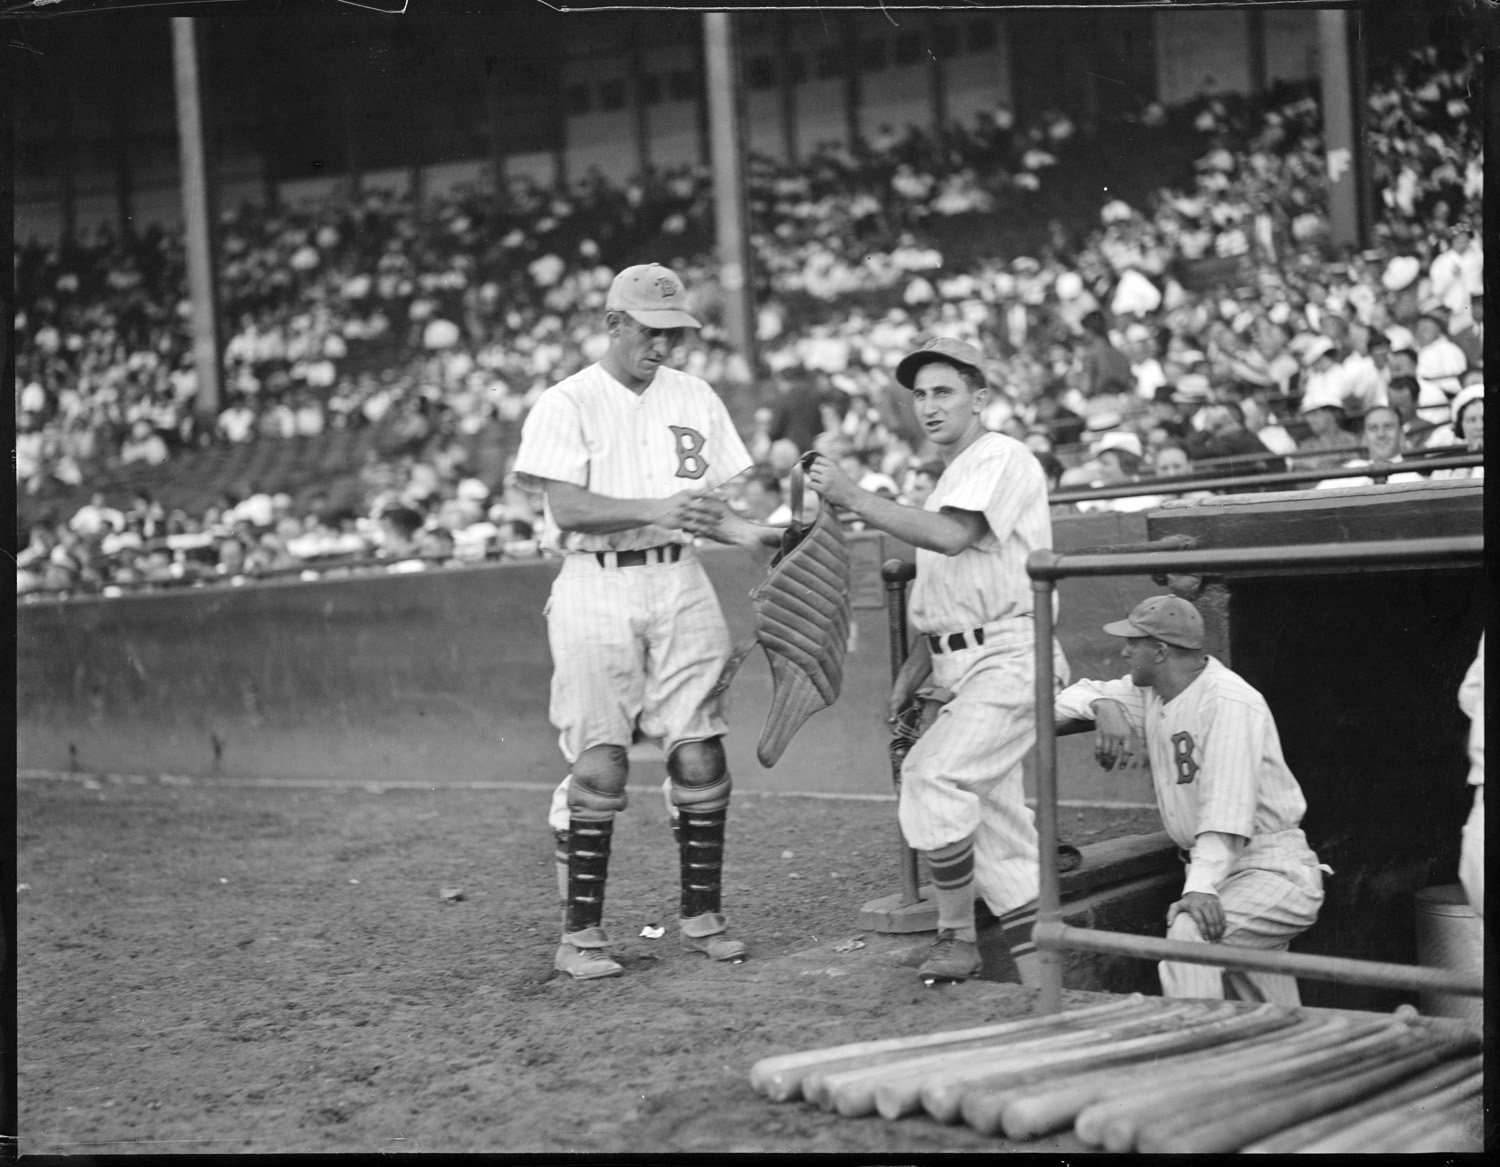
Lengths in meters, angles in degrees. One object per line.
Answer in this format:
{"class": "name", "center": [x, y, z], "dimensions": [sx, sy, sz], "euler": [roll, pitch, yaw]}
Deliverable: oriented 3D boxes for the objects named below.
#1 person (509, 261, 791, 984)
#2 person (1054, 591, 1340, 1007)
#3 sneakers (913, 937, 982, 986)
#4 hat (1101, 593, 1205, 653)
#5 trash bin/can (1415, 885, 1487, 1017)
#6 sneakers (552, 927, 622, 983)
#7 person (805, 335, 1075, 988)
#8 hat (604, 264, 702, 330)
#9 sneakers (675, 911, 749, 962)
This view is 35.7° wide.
{"class": "person", "center": [-0.406, 0.119, 9.138], "dimensions": [0.907, 2.677, 1.080], "euler": [-2, 13, 11]}
{"class": "person", "center": [1.826, 0.896, 9.404], "dimensions": [0.987, 1.640, 1.184], "euler": [-6, 13, -5]}
{"class": "sneakers", "center": [0.731, 1.380, 8.674], "dimensions": [0.228, 0.165, 0.236], "euler": [-3, 12, 5]}
{"class": "hat", "center": [1.670, 0.154, 9.557], "dimensions": [0.348, 0.184, 0.224], "euler": [2, 0, 12]}
{"class": "trash bin/can", "center": [2.907, 1.530, 9.758], "dimensions": [0.232, 0.475, 0.642], "euler": [-2, 12, 13]}
{"class": "sneakers", "center": [-0.618, 1.427, 8.984], "dimensions": [0.133, 0.138, 0.321], "euler": [6, -9, -40]}
{"class": "person", "center": [0.800, 0.312, 8.851], "dimensions": [0.761, 2.425, 1.070], "euler": [-3, 13, 7]}
{"class": "hat", "center": [-0.394, -1.127, 9.137], "dimensions": [0.330, 0.177, 0.234], "euler": [16, 13, 36]}
{"class": "sneakers", "center": [-0.136, 1.359, 9.077], "dimensions": [0.163, 0.157, 0.270], "euler": [-11, 14, -27]}
